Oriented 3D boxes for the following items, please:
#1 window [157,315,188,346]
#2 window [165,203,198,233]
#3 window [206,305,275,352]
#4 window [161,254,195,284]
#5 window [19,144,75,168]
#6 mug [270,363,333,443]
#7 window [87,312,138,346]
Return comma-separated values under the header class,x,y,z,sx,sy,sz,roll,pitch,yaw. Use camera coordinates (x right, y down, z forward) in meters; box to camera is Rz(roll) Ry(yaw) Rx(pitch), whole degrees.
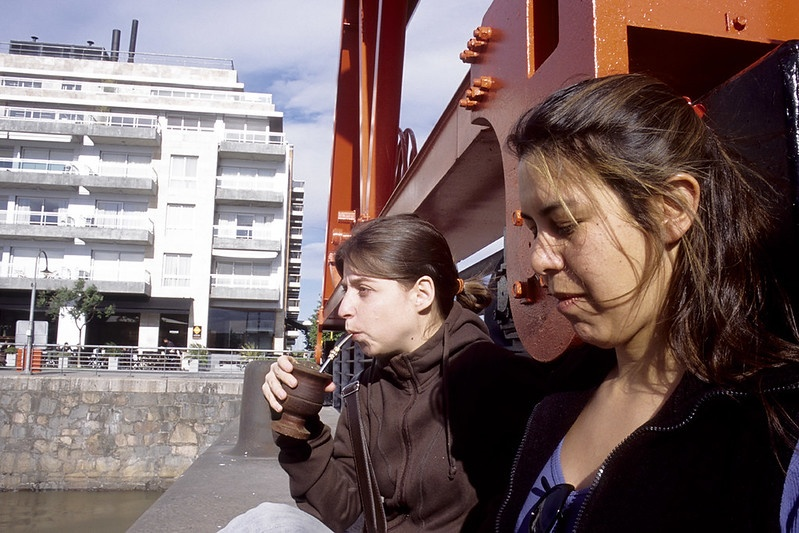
class,x,y,z,sx,sy,sz,roll,pitch,yaw
window,-10.852,2.893,31.288,1.209,1.669,2.356,5,-11,-39
window,-10.476,-2.312,31.155,1.324,1.348,0.143,4,-12,-12
window,-8.042,3.105,33.266,3.685,2.012,2.518,1,6,-6
window,-10.562,0.105,30.950,1.369,1.682,0.172,0,-11,-13
window,-17.031,-5.250,31.411,2.198,1.175,1.398,0,-1,-8
mug,-0.359,0.488,2.377,0.212,0.289,0.139,2,-6,-10
window,-13.619,3.024,30.126,2.661,1.474,1.865,0,5,5
